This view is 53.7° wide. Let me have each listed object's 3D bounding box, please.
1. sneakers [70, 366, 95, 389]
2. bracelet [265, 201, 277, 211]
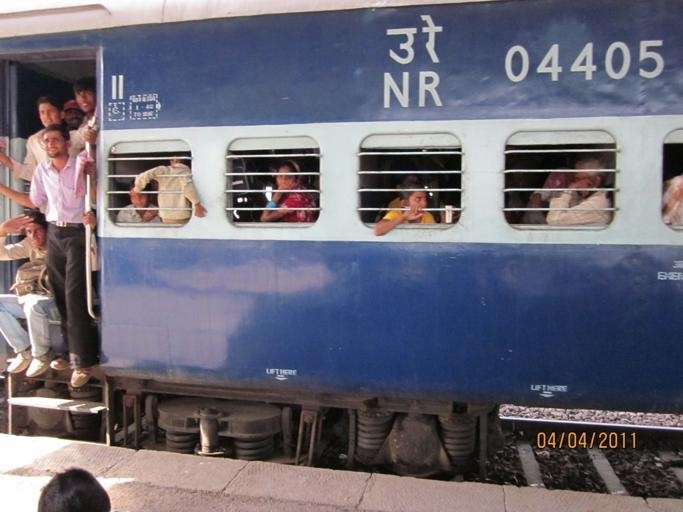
[{"bbox_3d":[-2.205,1.014,5.760,0.187,0.080,0.253,0,27,-9],"label":"sneakers"},{"bbox_3d":[-0.567,-0.396,5.341,0.080,0.080,0.083,-12,1,28],"label":"bracelet"}]
